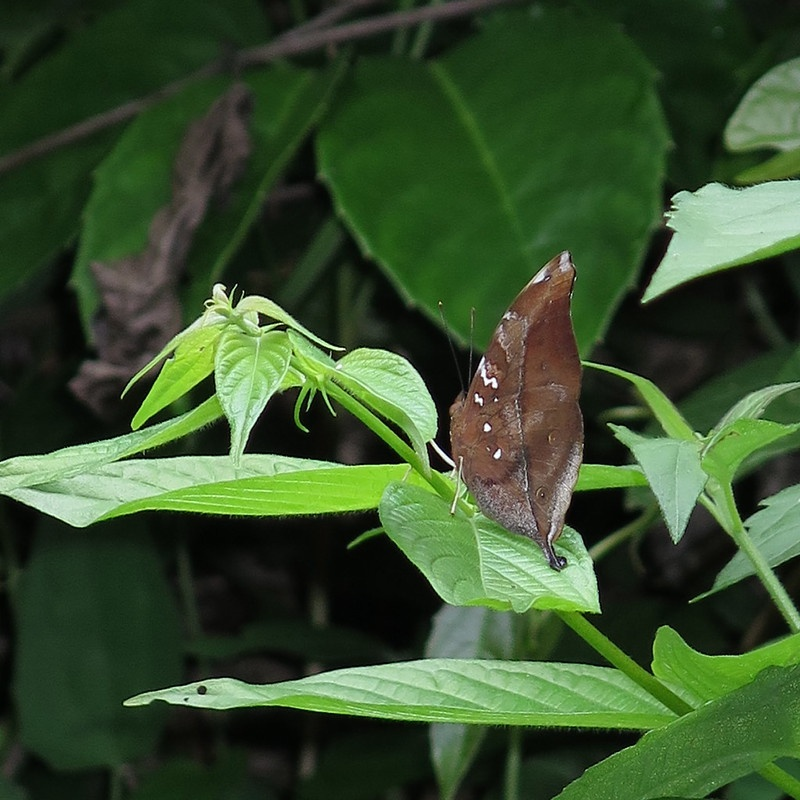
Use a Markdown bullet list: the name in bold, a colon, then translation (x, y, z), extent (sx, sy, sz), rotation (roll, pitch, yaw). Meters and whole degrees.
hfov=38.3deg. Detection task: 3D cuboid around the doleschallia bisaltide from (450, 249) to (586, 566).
- **doleschallia bisaltide**: translation (0.111, 0.001, 1.079), extent (0.102, 0.289, 0.147), rotation (-11, -1, -23)
